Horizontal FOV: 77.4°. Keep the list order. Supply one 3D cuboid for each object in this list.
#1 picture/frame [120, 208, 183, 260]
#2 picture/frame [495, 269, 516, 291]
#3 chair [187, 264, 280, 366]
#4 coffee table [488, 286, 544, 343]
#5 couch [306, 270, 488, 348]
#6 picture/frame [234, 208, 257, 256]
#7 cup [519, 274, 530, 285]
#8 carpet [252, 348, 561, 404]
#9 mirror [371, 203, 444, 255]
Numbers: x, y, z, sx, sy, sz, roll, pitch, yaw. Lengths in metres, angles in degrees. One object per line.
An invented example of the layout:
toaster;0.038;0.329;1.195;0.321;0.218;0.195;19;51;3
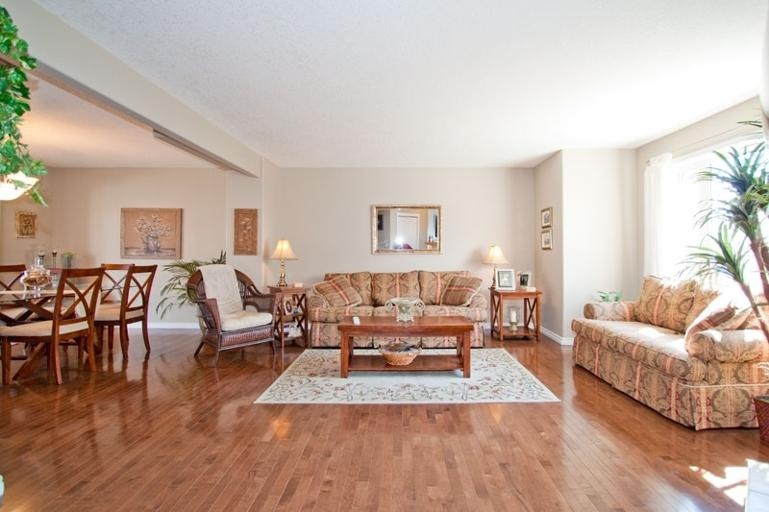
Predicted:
picture/frame;-3.917;-0.360;8.042;0.892;0.746;0.060;0;-2;-3
picture/frame;1.950;0.385;7.680;0.362;0.395;0.043;2;-28;3
chair;-2.052;0.730;6.473;1.163;1.227;1.151;0;3;1
coffee table;2.053;0.870;7.540;0.726;0.765;0.761;1;6;10
couch;0.253;0.790;7.441;2.588;1.122;1.067;0;2;-11
picture/frame;-2.179;-0.392;7.540;0.383;0.729;0.069;0;7;5
cup;2.231;0.368;7.561;0.151;0.198;0.167;-3;-8;23
carpet;0.312;1.440;5.794;3.263;0.020;2.333;-3;2;2
mirror;0.417;-0.474;8.101;0.879;0.608;0.038;1;-1;1
